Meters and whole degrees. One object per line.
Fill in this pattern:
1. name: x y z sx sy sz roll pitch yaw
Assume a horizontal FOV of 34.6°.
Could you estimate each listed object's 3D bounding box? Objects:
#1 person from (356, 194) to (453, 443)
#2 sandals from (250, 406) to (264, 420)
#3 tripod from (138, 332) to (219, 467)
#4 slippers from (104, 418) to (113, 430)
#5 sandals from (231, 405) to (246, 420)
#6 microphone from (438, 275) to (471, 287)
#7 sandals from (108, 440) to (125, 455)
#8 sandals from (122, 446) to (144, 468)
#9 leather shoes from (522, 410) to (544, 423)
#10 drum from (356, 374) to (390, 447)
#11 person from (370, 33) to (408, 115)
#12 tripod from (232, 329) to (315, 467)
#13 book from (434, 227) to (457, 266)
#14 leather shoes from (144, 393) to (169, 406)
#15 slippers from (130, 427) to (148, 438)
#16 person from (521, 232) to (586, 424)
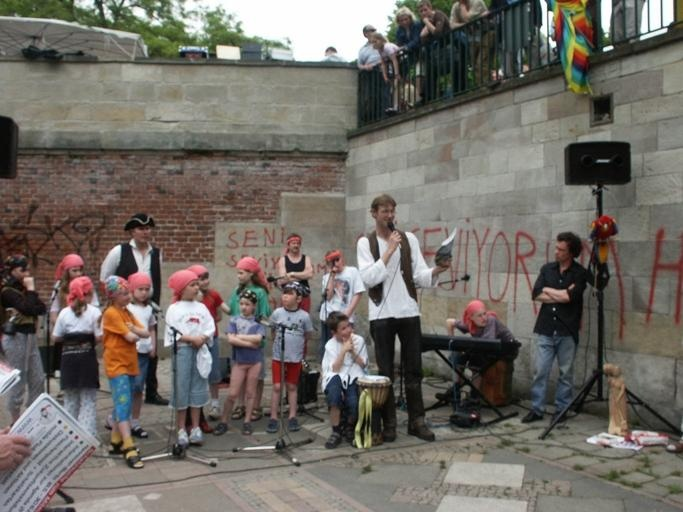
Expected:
1. person: 0.729 0.718 14.302 1.127 3.251 1.012 3 3 -6
2. sandals: -1.180 2.159 15.163 0.185 0.208 0.491 -1 -10 5
3. tripod: -2.069 1.914 14.095 0.703 1.966 0.648 0 0 39
4. slippers: -3.141 2.244 14.781 0.095 0.121 0.281 24 -3 -13
5. sandals: -1.432 2.165 15.257 0.174 0.218 0.519 0 -12 2
6. microphone: 1.708 0.378 16.566 0.318 0.083 0.210 -12 -2 9
7. sandals: -2.892 2.436 13.998 0.226 0.146 0.073 -1 0 14
8. sandals: -2.607 2.497 13.735 0.232 0.250 0.307 -1 0 -13
9. leather shoes: 2.599 2.192 14.960 0.361 0.145 0.128 3 -9 -22
10. drum: 0.401 2.005 14.251 0.523 0.921 0.268 -1 0 -11
11. person: 0.850 -3.042 18.390 0.497 1.326 0.552 -4 8 -32
12. tripod: -0.834 1.729 14.375 0.869 1.772 1.210 -1 0 12
13. book: 1.329 -0.094 14.064 0.246 0.465 0.599 -1 0 5
14. leather shoes: -2.693 2.086 15.975 0.383 0.164 0.137 1 -4 0
15. slippers: -2.681 2.326 14.533 0.245 0.097 0.101 2 0 33
16. person: 2.949 0.916 15.104 0.865 2.605 1.030 1 0 -43
